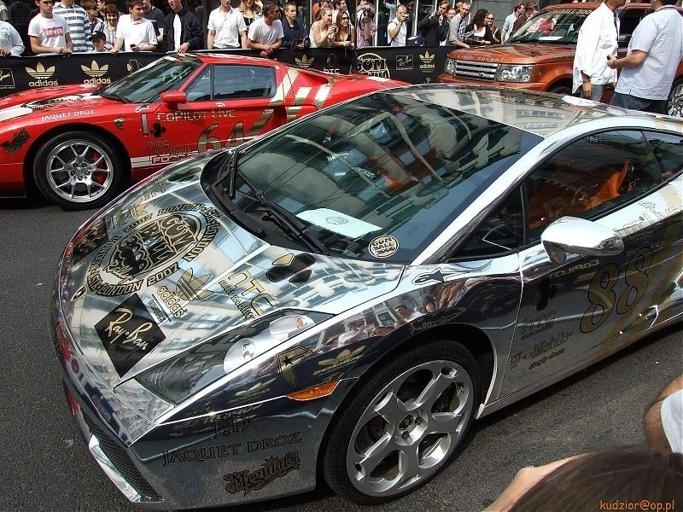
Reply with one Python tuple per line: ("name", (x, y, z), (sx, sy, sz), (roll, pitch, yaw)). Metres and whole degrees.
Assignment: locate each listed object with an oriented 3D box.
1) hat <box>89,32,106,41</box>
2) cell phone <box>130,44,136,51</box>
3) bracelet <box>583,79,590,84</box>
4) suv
("hat", (-4.336, -3.905, 8.589), (0.248, 0.100, 0.165), (7, 2, -30))
("cell phone", (-3.707, -3.696, 8.560), (0.084, 0.093, 0.111), (-11, 33, -19))
("bracelet", (3.449, -2.464, 6.827), (0.088, 0.049, 0.089), (-10, 2, 18))
("suv", (4.713, -3.613, 9.215), (4.813, 1.772, 2.482), (1, 26, -15))
